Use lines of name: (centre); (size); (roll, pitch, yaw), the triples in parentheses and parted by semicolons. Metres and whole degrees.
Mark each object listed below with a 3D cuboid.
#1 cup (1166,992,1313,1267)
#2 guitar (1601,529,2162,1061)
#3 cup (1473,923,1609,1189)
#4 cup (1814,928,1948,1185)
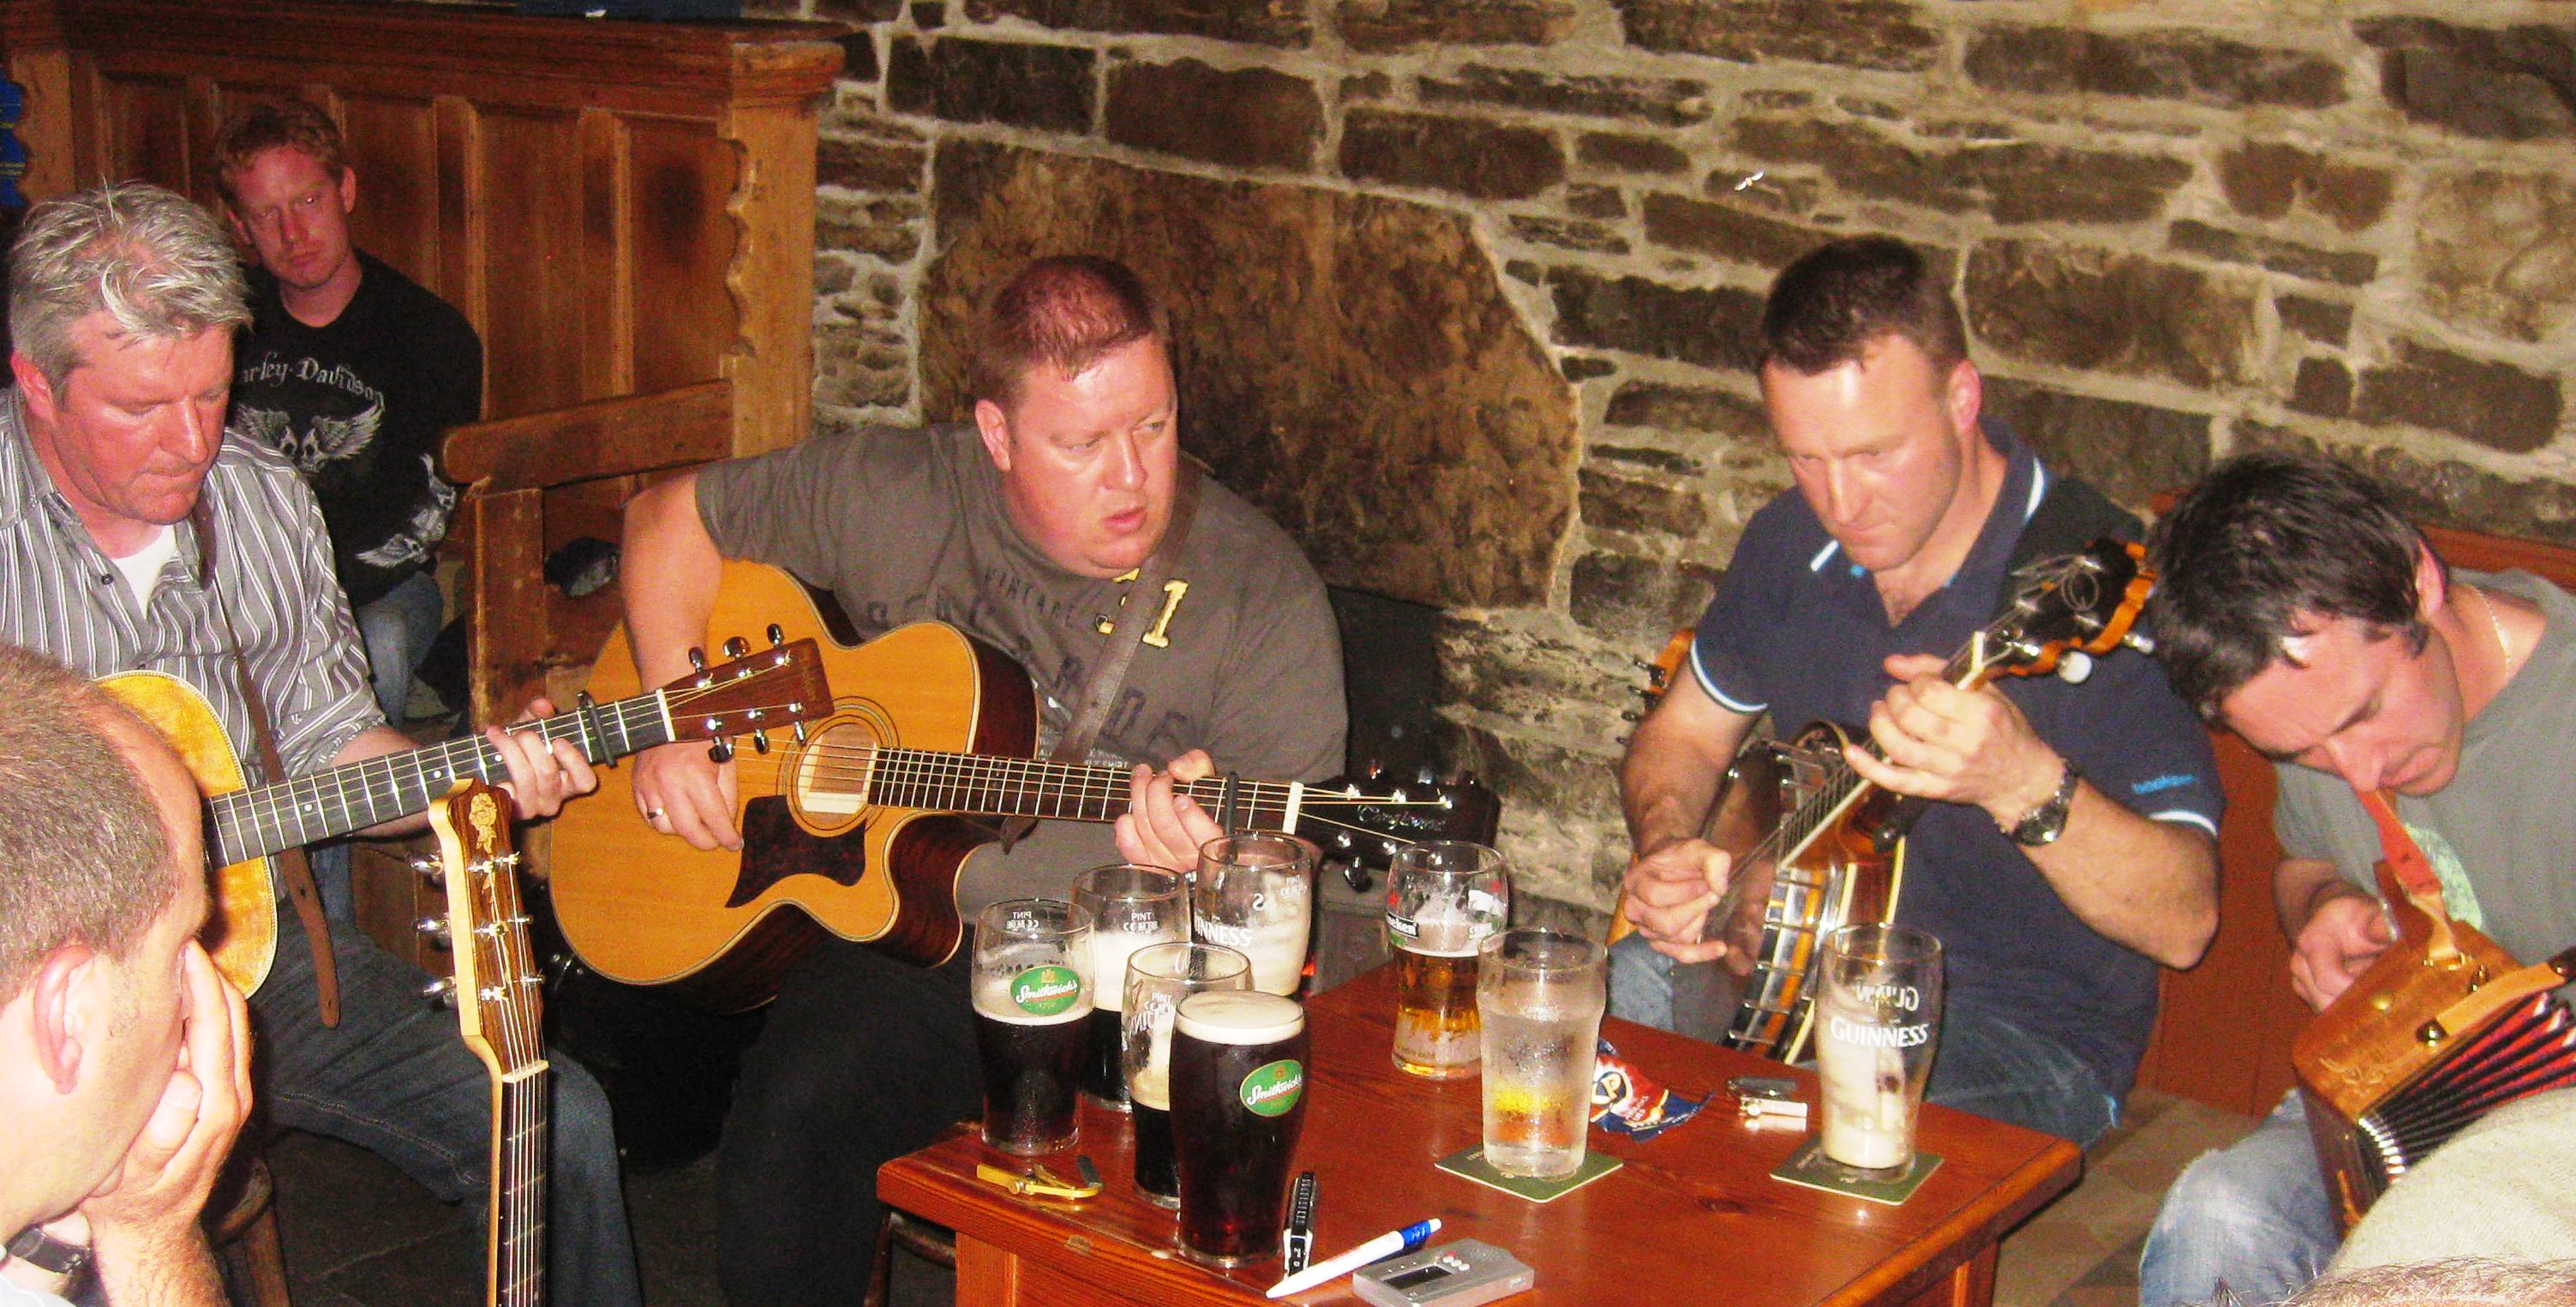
cup: (-0.105, 0.898, 3.823); (0.267, 0.511, 0.144); (5, 5, -10)
guitar: (1.345, 0.355, 4.586); (0.245, 0.714, 1.760); (47, -27, -2)
cup: (0.482, 0.787, 3.985); (0.252, 0.475, 0.184); (6, 5, 4)
cup: (1.143, 0.778, 3.998); (0.224, 0.498, 0.179); (7, 5, 14)
